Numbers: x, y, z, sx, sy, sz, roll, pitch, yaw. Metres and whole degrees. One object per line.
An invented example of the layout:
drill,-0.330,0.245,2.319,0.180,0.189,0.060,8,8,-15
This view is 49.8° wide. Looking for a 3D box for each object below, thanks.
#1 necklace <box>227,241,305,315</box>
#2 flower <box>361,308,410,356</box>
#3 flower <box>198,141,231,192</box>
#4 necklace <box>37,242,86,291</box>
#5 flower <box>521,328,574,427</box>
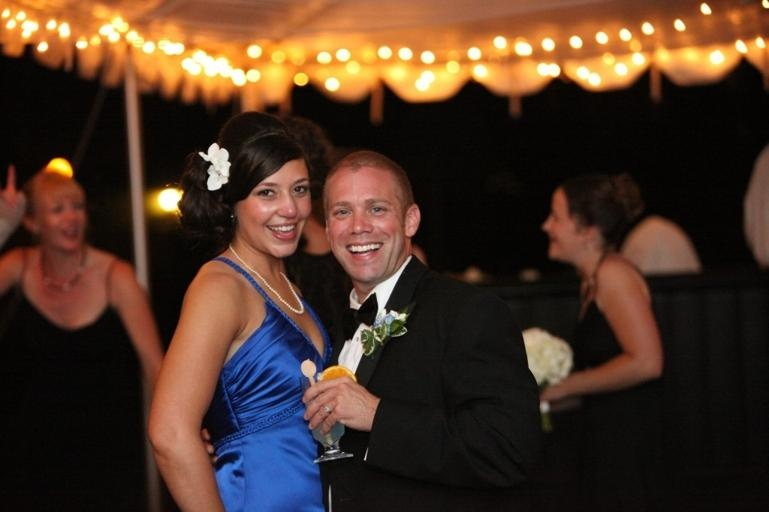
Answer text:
necklace,-0.868,0.160,5.923,0.032,0.561,0.419,-39,-15,18
flower,-0.009,0.516,5.716,0.356,0.233,0.132,-40,-8,-4
flower,-1.194,-0.635,5.859,0.275,0.299,0.099,-13,5,6
necklace,-2.833,0.083,7.196,0.265,0.364,0.119,1,18,-17
flower,1.337,1.000,6.755,0.584,0.800,0.586,-1,-12,12
